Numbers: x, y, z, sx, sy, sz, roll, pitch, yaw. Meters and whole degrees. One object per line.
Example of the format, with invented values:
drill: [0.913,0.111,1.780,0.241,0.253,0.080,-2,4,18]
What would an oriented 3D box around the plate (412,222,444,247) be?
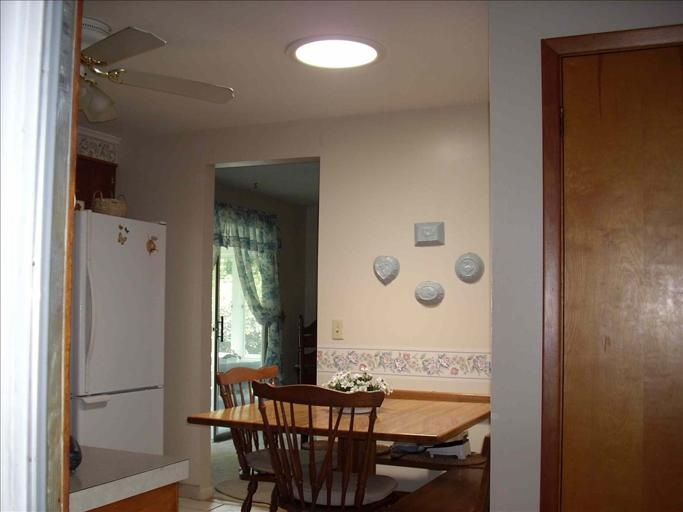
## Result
plate: [0.588,-0.156,3.528,0.165,0.167,0.082,1,-4,21]
